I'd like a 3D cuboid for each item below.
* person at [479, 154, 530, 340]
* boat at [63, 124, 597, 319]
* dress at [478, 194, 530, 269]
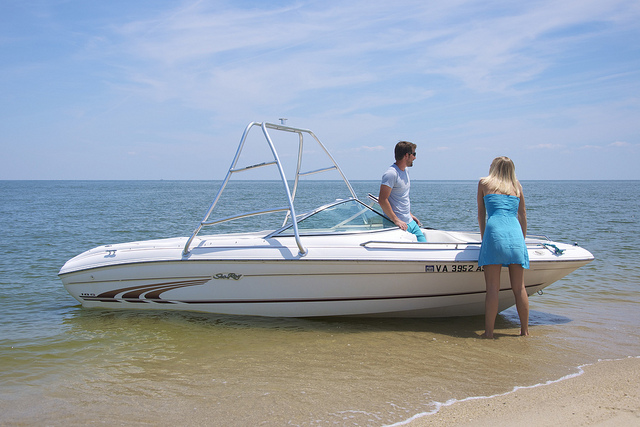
[{"bbox_3d":[2.685,0.484,8.052,0.695,2.576,0.571,0,3,11],"label":"person"},{"bbox_3d":[-1.504,0.135,10.364,10.695,3.107,3.751,1,-5,4],"label":"boat"},{"bbox_3d":[2.628,0.230,7.904,0.672,1.026,0.296,0,3,13],"label":"dress"}]
